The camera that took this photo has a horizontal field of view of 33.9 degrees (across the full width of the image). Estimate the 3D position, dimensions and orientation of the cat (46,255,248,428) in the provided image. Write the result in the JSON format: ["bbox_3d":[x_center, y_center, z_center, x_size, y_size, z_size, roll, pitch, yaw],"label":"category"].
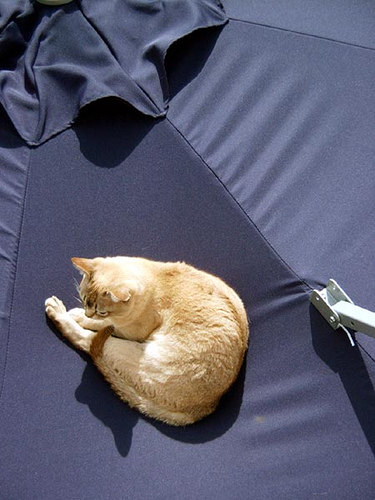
[{"bbox_3d":[-0.174,0.342,2.195,0.645,0.217,0.503,29,62,7],"label":"cat"}]
